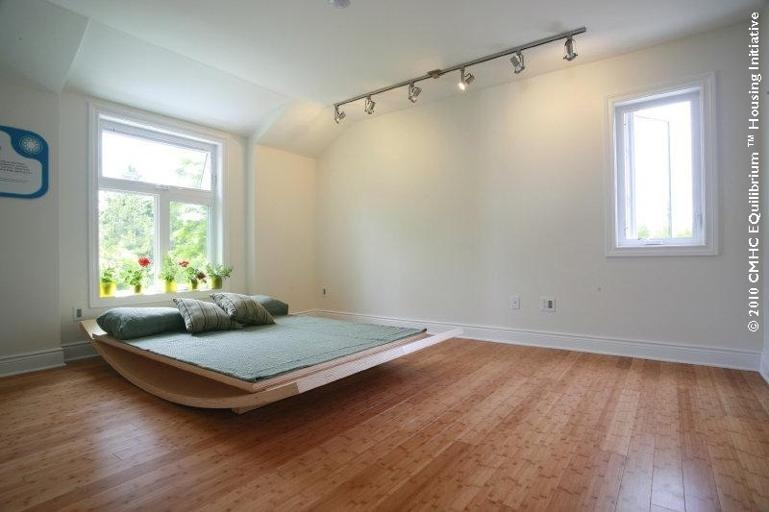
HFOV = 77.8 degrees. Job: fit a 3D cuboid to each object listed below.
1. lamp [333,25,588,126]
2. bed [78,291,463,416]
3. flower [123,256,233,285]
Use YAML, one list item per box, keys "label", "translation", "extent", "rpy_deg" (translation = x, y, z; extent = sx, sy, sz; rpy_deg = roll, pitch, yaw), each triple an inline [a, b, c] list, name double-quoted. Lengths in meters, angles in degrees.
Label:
- label: "lamp"
  translation: [0.940, -2.066, 5.407]
  extent: [0.331, 0.262, 3.002]
  rpy_deg: [-21, 4, -41]
- label: "bed"
  translation: [-1.333, 0.914, 4.502]
  extent: [3.214, 0.758, 1.512]
  rpy_deg: [-2, 0, 15]
- label: "flower"
  translation: [-2.606, 0.133, 6.068]
  extent: [1.061, 0.389, 0.365]
  rpy_deg: [-2, 6, -36]
